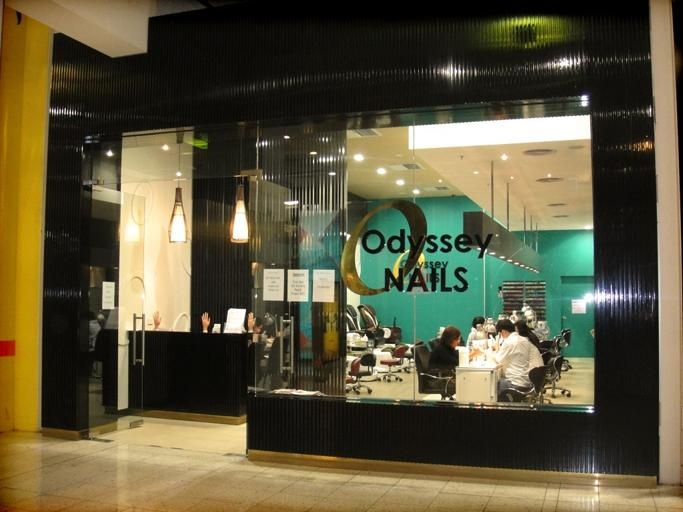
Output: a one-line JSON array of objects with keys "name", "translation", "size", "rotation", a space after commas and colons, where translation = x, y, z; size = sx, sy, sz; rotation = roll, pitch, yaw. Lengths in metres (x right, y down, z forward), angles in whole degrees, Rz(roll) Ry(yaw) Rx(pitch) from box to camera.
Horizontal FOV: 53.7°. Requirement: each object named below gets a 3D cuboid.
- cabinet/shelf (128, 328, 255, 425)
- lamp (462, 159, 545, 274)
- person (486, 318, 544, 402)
[{"name": "cabinet/shelf", "translation": [-2.085, 1.664, 9.578], "size": [1.644, 1.176, 0.280], "rotation": [1, 7, 18]}, {"name": "lamp", "translation": [1.750, -0.171, 7.306], "size": [0.830, 0.628, 0.216], "rotation": [3, 7, 27]}, {"name": "person", "translation": [1.906, 1.299, 7.344], "size": [0.603, 1.239, 0.463], "rotation": [-8, -15, 43]}]
